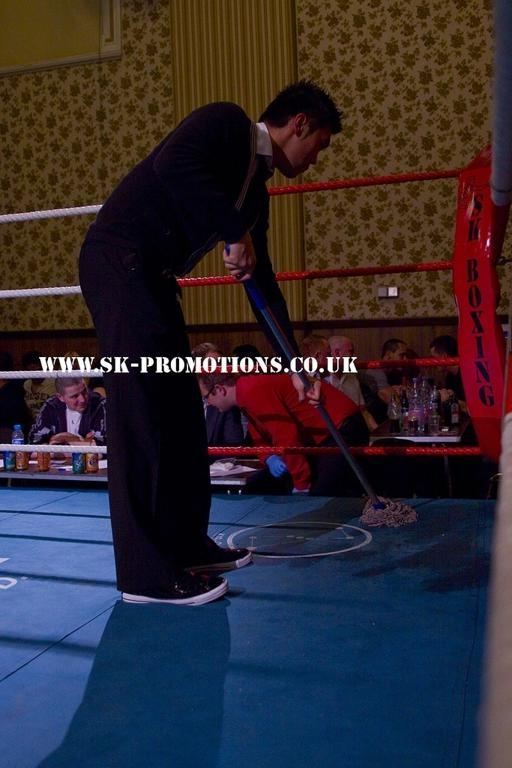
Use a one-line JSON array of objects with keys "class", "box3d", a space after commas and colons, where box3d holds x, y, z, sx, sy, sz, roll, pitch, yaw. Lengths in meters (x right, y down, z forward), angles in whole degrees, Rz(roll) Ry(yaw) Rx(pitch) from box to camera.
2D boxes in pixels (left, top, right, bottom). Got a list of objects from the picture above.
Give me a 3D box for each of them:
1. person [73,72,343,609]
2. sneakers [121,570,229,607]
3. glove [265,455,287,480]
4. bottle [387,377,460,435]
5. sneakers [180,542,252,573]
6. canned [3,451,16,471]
[{"class": "person", "box3d": [-0.068, -0.104, 1.307, 0.533, 0.960, 0.304, 1, 0, -30]}, {"class": "sneakers", "box3d": [-0.144, 0.359, 1.164, 0.184, 0.048, 0.059, -3, 2, -6]}, {"class": "glove", "box3d": [0.072, 0.314, 2.501, 0.028, 0.064, 0.090, -7, 23, -41]}, {"class": "bottle", "box3d": [0.832, 0.117, 3.406, 0.328, 0.205, 0.336, -1, 3, 0]}, {"class": "sneakers", "box3d": [-0.074, 0.349, 1.321, 0.151, 0.058, 0.050, 0, 1, -31]}, {"class": "canned", "box3d": [-1.012, 0.316, 2.730, 0.043, 0.082, 0.065, -4, 2, -18]}]
